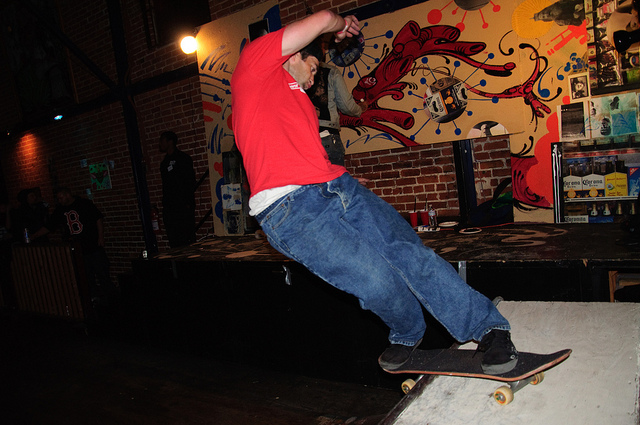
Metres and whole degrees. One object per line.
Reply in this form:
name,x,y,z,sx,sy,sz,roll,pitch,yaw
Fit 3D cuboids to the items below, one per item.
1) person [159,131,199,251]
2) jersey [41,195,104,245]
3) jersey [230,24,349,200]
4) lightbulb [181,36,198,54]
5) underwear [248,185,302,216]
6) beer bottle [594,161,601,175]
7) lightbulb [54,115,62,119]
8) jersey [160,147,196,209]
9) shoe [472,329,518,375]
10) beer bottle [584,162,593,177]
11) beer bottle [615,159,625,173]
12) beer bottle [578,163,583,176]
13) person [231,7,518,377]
person,-2.236,-0.399,7.045,0.615,1.941,0.282,-7,2,24
jersey,-3.925,0.130,7.087,0.753,0.875,0.326,-8,2,2
jersey,-0.289,-0.767,3.251,0.702,1.151,0.565,-9,5,18
lightbulb,-1.973,-2.545,6.673,0.151,0.259,0.204,-6,2,41
underwear,-0.319,-0.086,3.085,0.400,0.197,0.061,-7,2,19
beer bottle,2.923,-0.471,4.682,0.054,0.102,0.014,-7,2,17
lightbulb,-5.017,-1.840,8.525,0.084,0.070,0.025,1,-19,24
jersey,-2.233,-0.547,6.980,0.345,0.941,0.480,-4,11,-27
shoe,1.138,0.895,2.945,0.295,0.213,0.441,-7,1,3
beer bottle,2.852,-0.467,4.704,0.027,0.103,0.104,0,0,-32
beer bottle,3.106,-0.481,4.590,0.081,0.097,0.016,-7,2,31
beer bottle,2.785,-0.466,4.738,0.044,0.098,0.012,-8,2,5
person,0.244,-0.129,3.119,1.563,2.359,0.381,-8,2,13
